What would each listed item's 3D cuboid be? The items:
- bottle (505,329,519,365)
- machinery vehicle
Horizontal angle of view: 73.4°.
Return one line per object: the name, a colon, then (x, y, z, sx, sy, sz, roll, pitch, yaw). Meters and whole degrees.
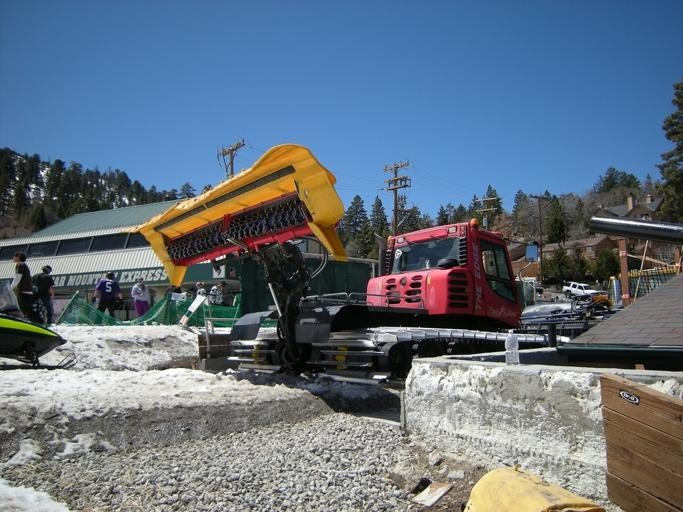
bottle: (1.643, 0.870, 4.407, 0.119, 0.317, 0.639, -4, -1, 19)
machinery vehicle: (0.702, 0.523, 9.621, 4.957, 3.086, 6.744, -5, -7, 45)
